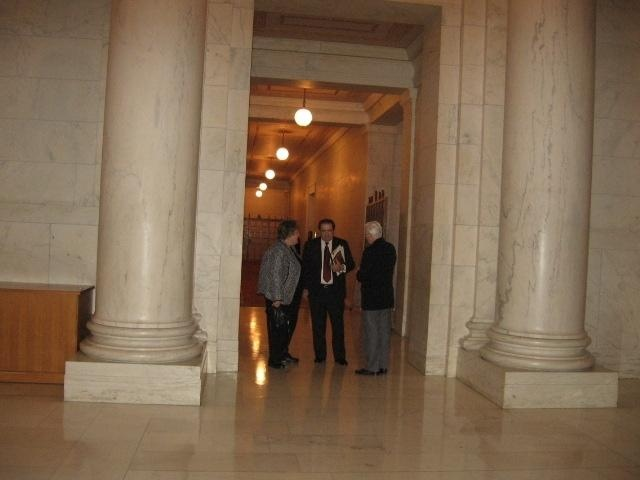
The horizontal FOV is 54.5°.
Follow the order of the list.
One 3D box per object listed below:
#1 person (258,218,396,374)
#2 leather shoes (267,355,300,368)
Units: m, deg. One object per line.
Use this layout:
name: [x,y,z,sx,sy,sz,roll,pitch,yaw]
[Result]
person: [-0.191,0.713,8.304,1.292,1.955,0.500,0,5,-25]
leather shoes: [-0.471,1.643,8.340,0.437,0.194,0.144,11,-1,-12]
